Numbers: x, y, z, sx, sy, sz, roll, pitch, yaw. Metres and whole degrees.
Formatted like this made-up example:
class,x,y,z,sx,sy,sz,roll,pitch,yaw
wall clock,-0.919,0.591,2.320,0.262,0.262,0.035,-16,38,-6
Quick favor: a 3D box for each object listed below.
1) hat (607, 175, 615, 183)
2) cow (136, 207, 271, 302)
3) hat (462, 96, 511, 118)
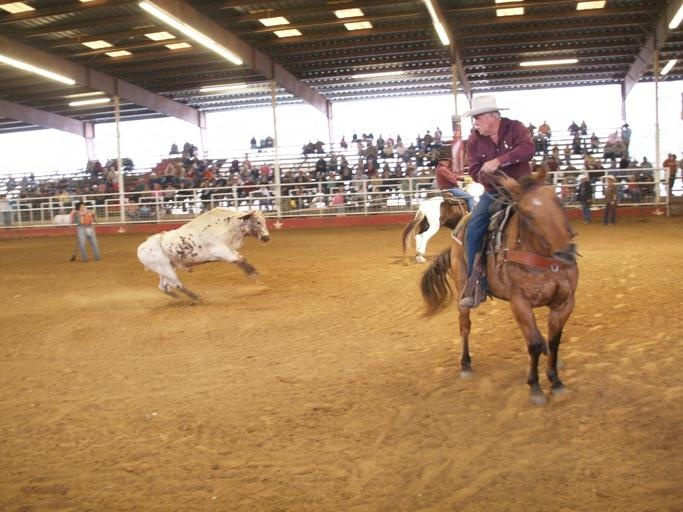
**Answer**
class,x,y,z,sx,sy,sz,roll,pitch,yaw
hat,8.902,-2.509,17.417,0.267,0.216,0.363,3,14,26
cow,-2.488,-0.037,9.555,2.240,1.580,0.789,-7,16,-14
hat,1.442,-1.485,5.223,0.428,0.211,0.360,-4,13,-7
